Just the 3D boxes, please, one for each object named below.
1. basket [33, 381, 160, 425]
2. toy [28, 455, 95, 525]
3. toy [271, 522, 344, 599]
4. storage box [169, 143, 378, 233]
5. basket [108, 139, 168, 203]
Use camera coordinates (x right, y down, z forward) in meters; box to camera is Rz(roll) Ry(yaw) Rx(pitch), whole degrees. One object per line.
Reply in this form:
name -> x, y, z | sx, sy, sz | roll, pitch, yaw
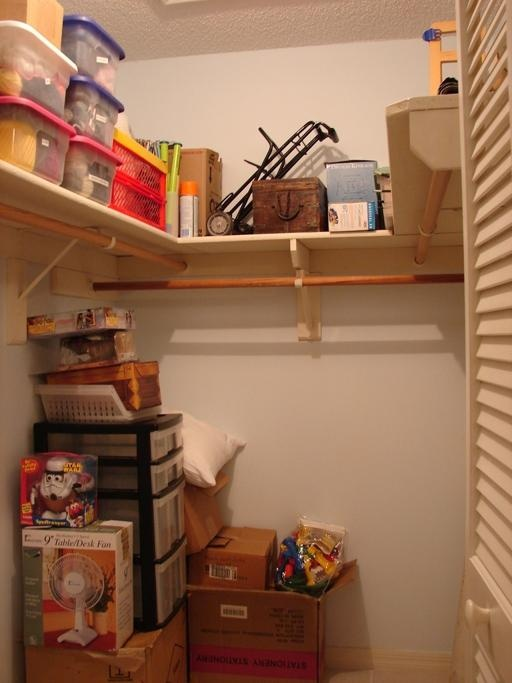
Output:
basket -> -0.551, 0.206, 1.801 | 0.221, 0.083, 0.169 | -2, -12, 5
toy -> -0.576, 0.435, 1.643 | 0.179, 0.191, 0.099 | 0, -5, 3
toy -> 0.206, 0.812, 2.135 | 0.174, 0.082, 0.235 | 4, 15, 27
storage box -> 0.139, -0.589, 2.195 | 0.678, 0.312, 0.318 | -3, 1, 19
basket -> -0.395, -0.595, 1.913 | 0.039, 0.160, 0.160 | -1, -3, 19
